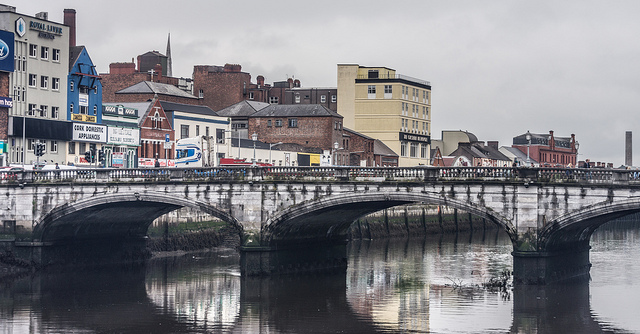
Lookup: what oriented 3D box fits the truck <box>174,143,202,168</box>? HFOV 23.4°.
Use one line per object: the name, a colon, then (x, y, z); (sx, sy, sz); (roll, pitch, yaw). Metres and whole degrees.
truck: (-16.135, -1.404, 188.580); (3.173, 3.209, 6.186); (0, -5, -5)
